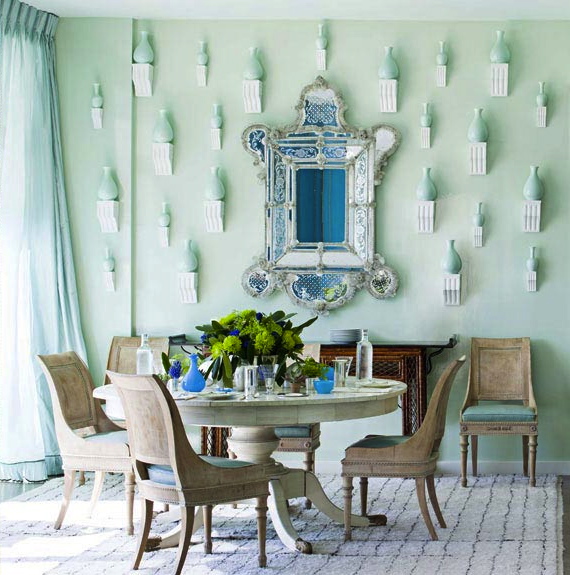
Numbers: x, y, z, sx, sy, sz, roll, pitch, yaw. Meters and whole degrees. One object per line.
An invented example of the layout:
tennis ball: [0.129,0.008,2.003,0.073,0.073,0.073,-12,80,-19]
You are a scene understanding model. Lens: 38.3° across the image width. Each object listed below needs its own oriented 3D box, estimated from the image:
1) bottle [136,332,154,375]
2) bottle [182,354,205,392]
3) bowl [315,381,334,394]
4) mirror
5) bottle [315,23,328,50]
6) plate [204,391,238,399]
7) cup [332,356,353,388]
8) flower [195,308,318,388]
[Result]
bottle: [-0.687,0.308,3.919,0.081,0.227,0.086,6,33,-4]
bottle: [-0.437,0.402,3.817,0.111,0.180,0.115,-1,11,0]
bowl: [0.174,0.468,3.811,0.058,0.040,0.063,1,-8,0]
mirror: [0.266,-0.626,5.461,1.363,2.279,0.132,0,0,2]
bottle: [0.238,-1.671,5.465,0.075,0.184,0.065,0,2,10]
plate: [-0.299,0.476,3.652,0.135,0.022,0.231,-1,3,-5]
cup: [0.304,0.416,4.058,0.105,0.164,0.118,0,-8,14]
flower: [-0.168,0.258,3.991,0.396,0.308,0.422,0,-3,0]
